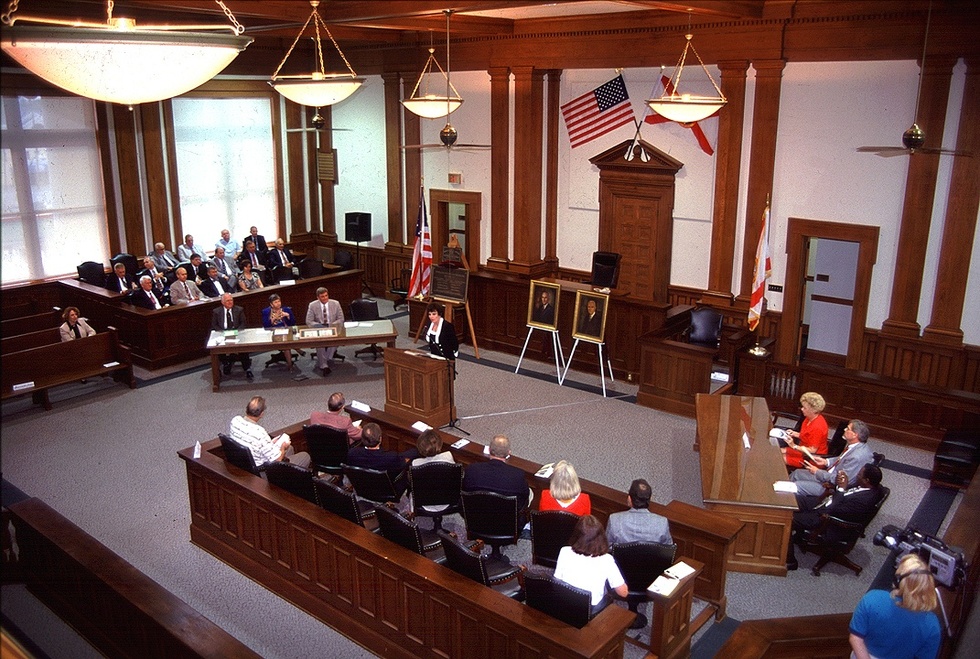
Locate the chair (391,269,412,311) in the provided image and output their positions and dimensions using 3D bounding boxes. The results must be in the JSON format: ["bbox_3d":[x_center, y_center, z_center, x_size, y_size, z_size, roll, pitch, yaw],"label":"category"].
[{"bbox_3d":[-2.105,-0.995,16.036,0.419,0.881,0.870,0,12,-9],"label":"chair"}]

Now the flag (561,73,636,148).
[{"bbox_3d":[2.003,-4.007,12.528,1.492,1.087,0.077,-14,11,43],"label":"flag"}]

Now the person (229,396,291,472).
[{"bbox_3d":[-2.828,1.283,8.455,0.342,0.766,0.453,27,37,9],"label":"person"}]

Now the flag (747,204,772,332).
[{"bbox_3d":[4.213,-0.918,10.671,0.356,2.170,0.283,0,36,18],"label":"flag"}]

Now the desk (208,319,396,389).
[{"bbox_3d":[-3.339,0.438,12.047,3.036,1.062,0.918,0,12,-10],"label":"desk"}]

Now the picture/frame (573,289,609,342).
[{"bbox_3d":[1.726,-0.265,11.824,0.725,0.961,0.108,14,16,30],"label":"picture/frame"}]

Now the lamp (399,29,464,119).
[{"bbox_3d":[-0.985,-4.134,11.356,0.979,1.279,0.991,0,7,-3],"label":"lamp"}]

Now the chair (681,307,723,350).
[{"bbox_3d":[3.551,-0.056,11.440,0.604,0.869,0.615,8,22,26],"label":"chair"}]

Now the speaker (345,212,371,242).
[{"bbox_3d":[-3.146,-2.419,16.165,0.601,0.644,0.359,1,11,-1],"label":"speaker"}]

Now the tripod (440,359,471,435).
[{"bbox_3d":[-0.527,0.913,10.572,0.370,1.127,0.963,0,11,-4],"label":"tripod"}]

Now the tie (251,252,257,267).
[{"bbox_3d":[-5.244,-1.546,15.266,0.171,0.322,0.108,0,-30,-27],"label":"tie"}]

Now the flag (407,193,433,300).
[{"bbox_3d":[-1.333,-1.522,13.075,0.416,2.078,1.061,0,11,-6],"label":"flag"}]

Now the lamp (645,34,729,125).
[{"bbox_3d":[2.698,-3.459,9.422,1.032,1.191,1.065,2,14,8],"label":"lamp"}]

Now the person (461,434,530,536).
[{"bbox_3d":[0.045,1.638,7.202,0.774,1.170,0.677,8,13,10],"label":"person"}]

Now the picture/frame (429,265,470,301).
[{"bbox_3d":[-0.808,-0.883,12.990,0.606,0.505,0.079,11,12,29],"label":"picture/frame"}]
